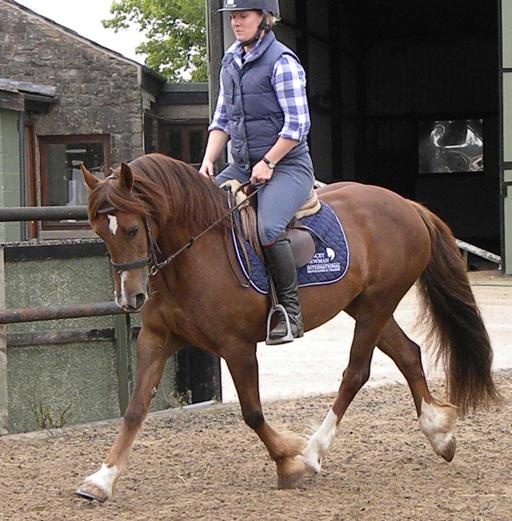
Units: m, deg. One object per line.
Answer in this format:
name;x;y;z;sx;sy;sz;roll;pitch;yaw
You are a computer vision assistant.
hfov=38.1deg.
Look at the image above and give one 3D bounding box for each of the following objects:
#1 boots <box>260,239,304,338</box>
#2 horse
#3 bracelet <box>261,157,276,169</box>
boots;0.117;0.118;3.167;0.163;0.446;0.302;1;3;8
horse;0.232;0.317;3.584;2.437;1.434;0.630;-1;-7;-36
bracelet;0.056;-0.415;3.148;0.047;0.049;0.045;-45;15;7
